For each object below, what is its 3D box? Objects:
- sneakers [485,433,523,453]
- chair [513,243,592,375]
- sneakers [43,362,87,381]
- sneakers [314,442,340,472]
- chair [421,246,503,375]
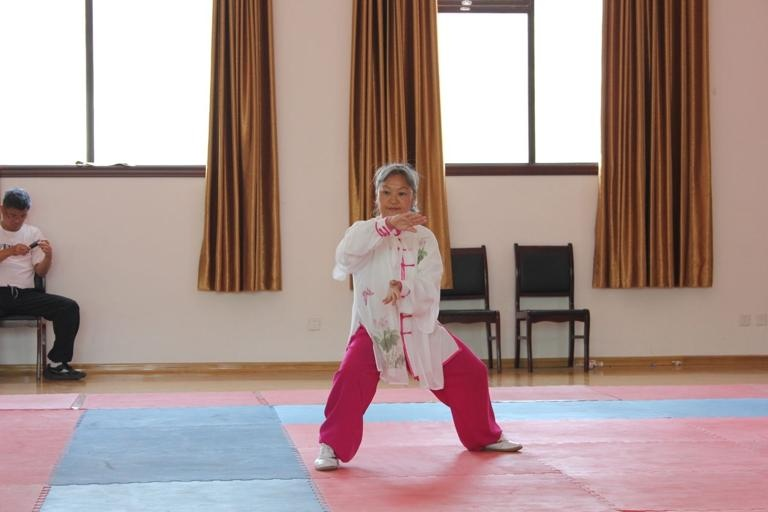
[{"bbox_3d":[0.667,1.047,4.413,0.206,0.086,0.080,0,-3,0],"label":"sneakers"},{"bbox_3d":[1.453,0.435,6.842,0.666,1.058,0.530,1,7,8],"label":"chair"},{"bbox_3d":[-2.580,0.927,6.403,0.301,0.126,0.137,3,-1,-13],"label":"sneakers"},{"bbox_3d":[-0.298,1.042,4.096,0.085,0.111,0.165,2,-4,-3],"label":"sneakers"},{"bbox_3d":[0.665,0.409,6.638,0.698,0.972,0.688,-2,0,-31],"label":"chair"}]
